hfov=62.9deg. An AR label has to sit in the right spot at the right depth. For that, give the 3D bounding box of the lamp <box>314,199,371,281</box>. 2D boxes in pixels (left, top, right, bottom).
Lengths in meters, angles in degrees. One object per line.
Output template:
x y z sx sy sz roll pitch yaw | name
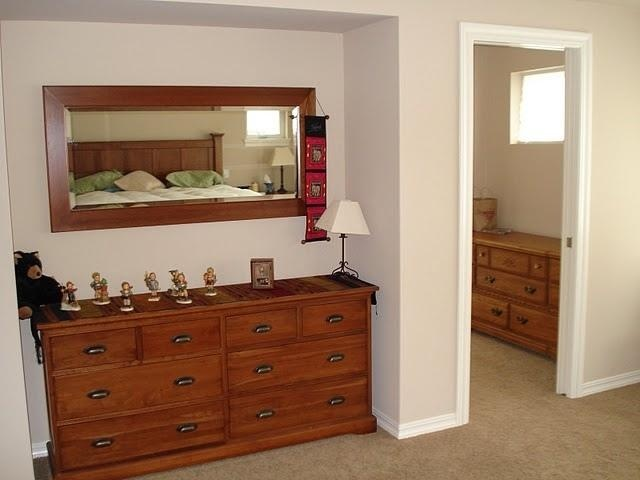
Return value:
0.170 0.003 3.847 0.394 0.622 0.521 -2 13 -5 | lamp

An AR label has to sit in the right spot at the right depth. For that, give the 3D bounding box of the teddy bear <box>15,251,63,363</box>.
-1.717 0.416 3.234 0.249 0.685 0.445 -7 15 -25 | teddy bear

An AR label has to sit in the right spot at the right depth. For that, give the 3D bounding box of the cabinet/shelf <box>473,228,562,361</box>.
1.755 0.581 5.243 1.249 0.943 0.561 18 -20 -24 | cabinet/shelf

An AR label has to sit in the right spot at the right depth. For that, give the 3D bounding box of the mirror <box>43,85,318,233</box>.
-0.886 -0.607 3.767 2.068 0.923 0.043 -9 19 -37 | mirror

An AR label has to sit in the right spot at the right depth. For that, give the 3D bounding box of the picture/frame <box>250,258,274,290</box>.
-0.395 0.231 3.607 0.210 0.179 0.209 1 4 -11 | picture/frame
